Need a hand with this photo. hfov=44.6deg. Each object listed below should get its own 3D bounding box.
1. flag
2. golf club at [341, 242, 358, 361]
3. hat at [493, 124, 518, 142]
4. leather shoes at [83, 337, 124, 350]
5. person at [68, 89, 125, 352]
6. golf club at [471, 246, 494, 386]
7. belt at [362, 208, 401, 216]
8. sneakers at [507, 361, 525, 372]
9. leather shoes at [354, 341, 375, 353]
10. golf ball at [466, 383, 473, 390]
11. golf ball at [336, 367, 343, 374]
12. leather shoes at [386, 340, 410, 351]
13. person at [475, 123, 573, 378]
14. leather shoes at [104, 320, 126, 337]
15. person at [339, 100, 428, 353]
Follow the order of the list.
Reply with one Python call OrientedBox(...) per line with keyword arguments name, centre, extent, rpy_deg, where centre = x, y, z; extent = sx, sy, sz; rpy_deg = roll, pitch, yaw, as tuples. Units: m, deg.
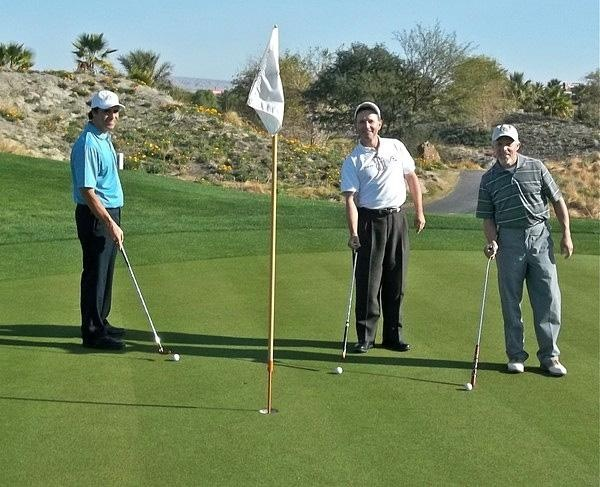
OrientedBox(name="flag", centre=(-0.252, -1.188, 5.333), extent=(0.256, 0.777, 0.341), rpy_deg=(0, 9, -2))
OrientedBox(name="golf club", centre=(0.478, 0.571, 6.902), extent=(0.045, 1.046, 0.097), rpy_deg=(1, 7, -42))
OrientedBox(name="hat", centre=(1.725, -0.943, 6.134), extent=(0.131, 0.119, 0.207), rpy_deg=(1, -4, 14))
OrientedBox(name="leather shoes", centre=(-1.771, 0.905, 6.635), extent=(0.370, 0.178, 0.151), rpy_deg=(1, 3, 5))
OrientedBox(name="person", centre=(-1.871, -0.250, 6.847), extent=(0.490, 2.327, 0.836), rpy_deg=(-3, 10, -17))
OrientedBox(name="golf club", centre=(1.532, 0.584, 6.123), extent=(0.104, 1.239, 0.083), rpy_deg=(19, -15, -32))
OrientedBox(name="belt", centre=(0.753, -0.300, 6.788), extent=(0.382, 0.072, 0.086), rpy_deg=(-1, 10, -5))
OrientedBox(name="sneakers", centre=(1.778, 1.020, 5.998), extent=(0.128, 0.079, 0.090), rpy_deg=(3, 10, 18))
OrientedBox(name="leather shoes", centre=(0.572, 0.961, 6.716), extent=(0.069, 0.096, 0.202), rpy_deg=(-2, -6, 29))
OrientedBox(name="golf ball", centre=(1.301, 1.105, 5.613), extent=(0.040, 0.037, 0.044), rpy_deg=(-18, -16, 18))
OrientedBox(name="golf ball", centre=(0.322, 1.039, 5.990), extent=(0.061, 0.040, 0.117), rpy_deg=(2, 11, 13))
OrientedBox(name="leather shoes", centre=(0.888, 0.944, 6.705), extent=(0.207, 0.106, 0.082), rpy_deg=(-1, 4, 31))
OrientedBox(name="person", centre=(1.847, 0.026, 6.122), extent=(0.728, 1.996, 0.613), rpy_deg=(2, 9, 14))
OrientedBox(name="leather shoes", centre=(-1.801, 0.833, 7.095), extent=(0.255, 0.199, 0.094), rpy_deg=(-3, 12, -16))
OrientedBox(name="person", centre=(0.786, -0.163, 6.782), extent=(0.778, 2.246, 0.504), rpy_deg=(-3, 10, -17))
